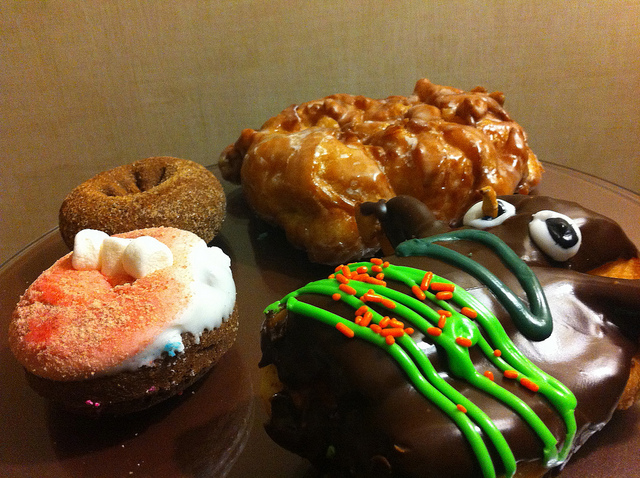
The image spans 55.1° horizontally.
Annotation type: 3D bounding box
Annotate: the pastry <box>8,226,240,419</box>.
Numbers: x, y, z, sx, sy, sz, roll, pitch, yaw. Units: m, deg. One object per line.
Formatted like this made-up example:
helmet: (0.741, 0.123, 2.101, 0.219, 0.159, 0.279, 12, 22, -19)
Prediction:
pastry: (-0.511, 0.184, 1.620, 0.588, 0.278, 0.452, -20, 55, -21)

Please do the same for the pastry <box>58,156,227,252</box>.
pastry: (-0.594, -0.232, 2.007, 0.409, 0.170, 0.403, -1, 28, 2)
